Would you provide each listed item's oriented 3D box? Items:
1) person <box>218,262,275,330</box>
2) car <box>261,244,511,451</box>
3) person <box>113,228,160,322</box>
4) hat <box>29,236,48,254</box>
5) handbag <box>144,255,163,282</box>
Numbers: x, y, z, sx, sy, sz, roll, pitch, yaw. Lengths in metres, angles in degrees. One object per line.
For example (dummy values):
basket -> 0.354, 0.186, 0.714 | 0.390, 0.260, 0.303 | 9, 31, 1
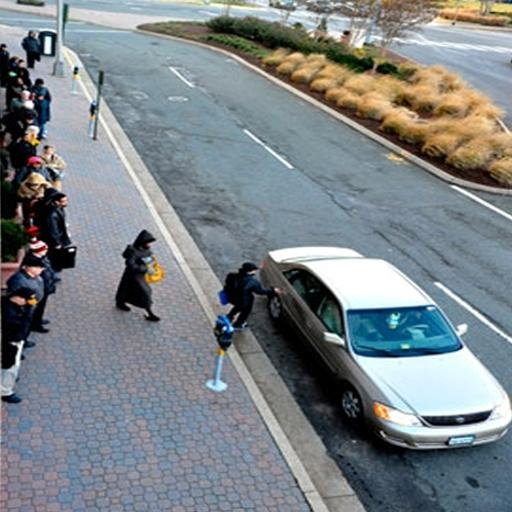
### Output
person -> -0.124, 0.699, 9.843 | 0.658, 0.958, 0.493 | -24, 72, -21
car -> 1.626, 1.162, 8.862 | 1.900, 1.045, 3.882 | -8, 32, -25
person -> -1.744, 0.328, 9.227 | 0.780, 1.613, 0.413 | 19, 35, -1
hat -> -2.845, -0.127, 7.881 | 0.196, 0.170, 0.292 | 7, 33, -16
handbag -> -1.547, 0.213, 9.132 | 0.257, 0.399, 0.221 | -4, 40, -30
